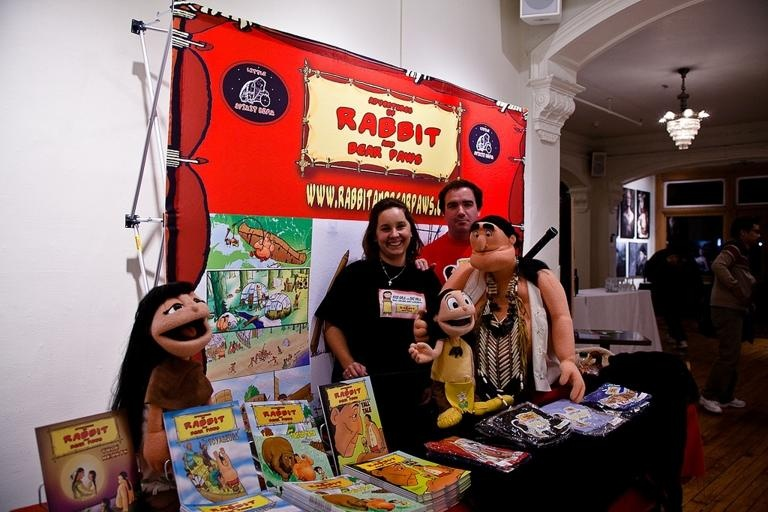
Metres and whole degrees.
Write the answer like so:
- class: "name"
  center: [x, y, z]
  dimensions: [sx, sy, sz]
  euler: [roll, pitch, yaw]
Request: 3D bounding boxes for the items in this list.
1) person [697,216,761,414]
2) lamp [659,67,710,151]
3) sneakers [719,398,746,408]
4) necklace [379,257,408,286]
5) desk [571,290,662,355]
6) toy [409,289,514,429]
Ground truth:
- class: "person"
  center: [3.471, 0.577, 5.179]
  dimensions: [0.578, 1.930, 0.401]
  euler: [-2, 2, -45]
- class: "lamp"
  center: [4.030, -2.020, 6.891]
  dimensions: [0.669, 0.967, 0.687]
  euler: [-7, 10, -17]
- class: "sneakers"
  center: [3.557, 1.503, 5.242]
  dimensions: [0.251, 0.103, 0.105]
  euler: [-5, 4, 2]
- class: "necklace"
  center: [0.048, 0.098, 2.932]
  dimensions: [0.108, 0.150, 0.036]
  euler: [8, -37, -4]
- class: "desk"
  center: [2.976, 0.774, 6.712]
  dimensions: [1.005, 0.513, 0.418]
  euler: [-3, -18, 17]
- class: "toy"
  center: [0.399, 0.544, 2.570]
  dimensions: [0.620, 0.713, 0.384]
  euler: [3, -9, -32]
